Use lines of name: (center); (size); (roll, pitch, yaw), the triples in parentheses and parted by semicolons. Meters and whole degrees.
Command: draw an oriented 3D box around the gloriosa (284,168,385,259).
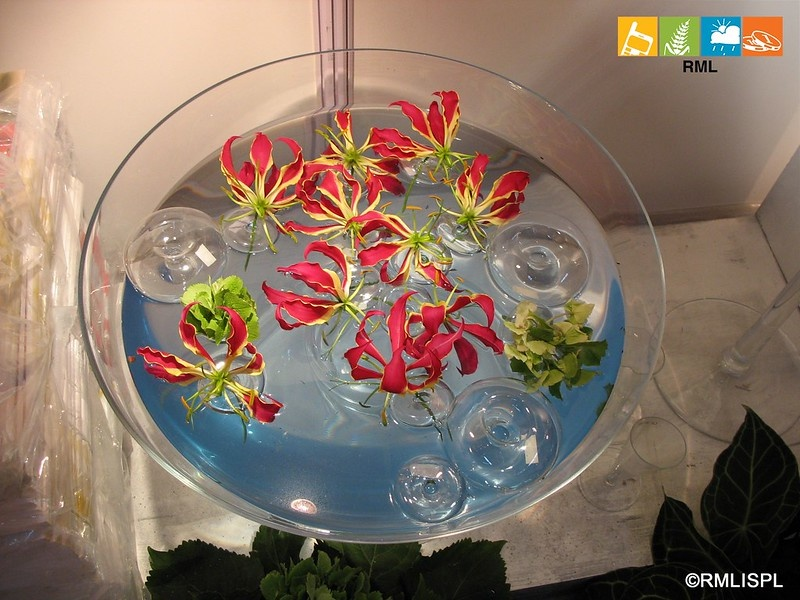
gloriosa: (-0.097, -0.161, 1.017); (0.163, 0.078, 0.190); (-3, 24, -2)

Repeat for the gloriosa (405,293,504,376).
gloriosa: (0.078, 0.058, 0.959); (0.191, 0.123, 0.136); (3, 46, -6)

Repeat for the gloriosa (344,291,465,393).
gloriosa: (-0.001, 0.082, 0.880); (0.140, 0.070, 0.170); (39, 72, 12)

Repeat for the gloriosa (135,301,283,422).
gloriosa: (-0.309, 0.108, 0.984); (0.194, 0.230, 0.108); (-31, 7, -9)

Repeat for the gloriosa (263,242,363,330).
gloriosa: (-0.143, -0.010, 0.972); (0.152, 0.154, 0.042); (18, -6, -6)
